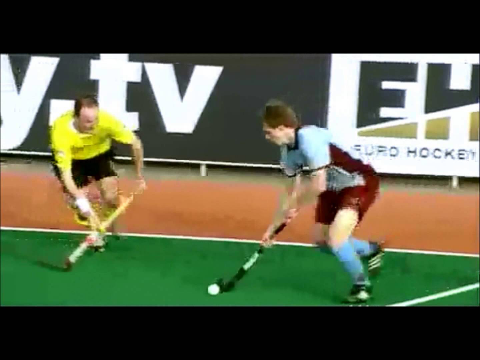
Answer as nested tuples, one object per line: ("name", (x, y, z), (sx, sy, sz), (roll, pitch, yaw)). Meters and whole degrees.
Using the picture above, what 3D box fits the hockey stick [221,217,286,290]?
("hockey stick", (0.152, 0.796, 6.124), (0.210, 0.892, 0.130), (52, -14, -19))

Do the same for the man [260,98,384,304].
("man", (0.735, 0.321, 6.770), (1.818, 2.711, 1.244), (1, -11, 5))

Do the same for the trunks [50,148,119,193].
("trunks", (-1.612, -0.111, 6.134), (0.342, 0.320, 0.538), (-23, 9, 48))

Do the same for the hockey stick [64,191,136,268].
("hockey stick", (-1.478, 0.540, 6.181), (0.205, 0.770, 0.183), (26, -16, 46))

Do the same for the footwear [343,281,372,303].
("footwear", (1.146, 1.104, 5.735), (0.100, 0.161, 0.228), (9, -24, -14))

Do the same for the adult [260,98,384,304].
("adult", (0.883, 0.380, 6.762), (1.818, 2.711, 1.244), (1, -11, 5))

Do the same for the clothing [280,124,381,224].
("clothing", (0.850, -0.060, 5.872), (0.970, 1.062, 0.803), (5, 2, -6))

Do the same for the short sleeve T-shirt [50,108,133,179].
("short sleeve T-shirt", (-1.599, -0.393, 5.944), (0.627, 0.689, 0.338), (-7, -5, -2))

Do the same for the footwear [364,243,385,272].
("footwear", (1.375, 0.788, 6.037), (0.202, 0.269, 0.112), (42, -4, -1))
